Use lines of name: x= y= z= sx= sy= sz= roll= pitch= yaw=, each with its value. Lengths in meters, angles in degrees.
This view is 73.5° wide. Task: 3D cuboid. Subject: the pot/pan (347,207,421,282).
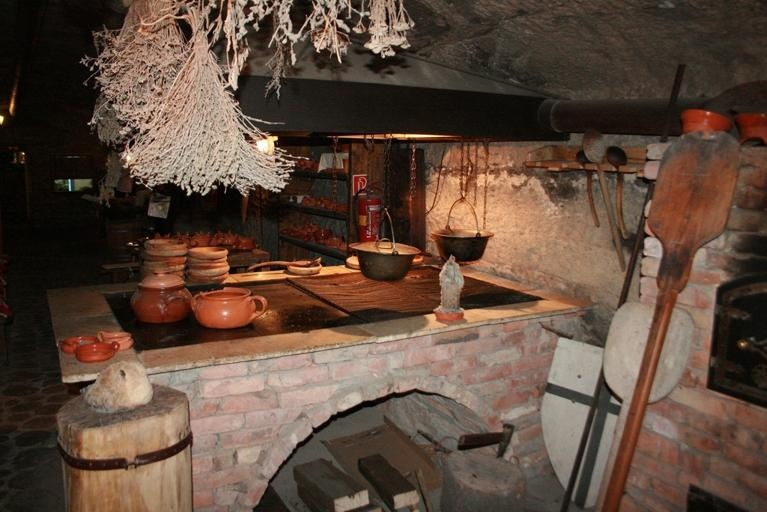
pot/pan: x=0.045 y=-0.080 z=3.419 sx=0.567 sy=0.475 sz=0.557 roll=-2 pitch=8 yaw=-31

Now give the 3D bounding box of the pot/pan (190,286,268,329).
pot/pan: x=-1.003 y=0.324 z=3.340 sx=0.410 sy=0.143 sz=0.275 roll=-2 pitch=7 yaw=2

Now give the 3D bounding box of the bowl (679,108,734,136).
bowl: x=1.781 y=-0.728 z=2.868 sx=0.193 sy=0.080 sz=0.186 roll=4 pitch=4 yaw=0

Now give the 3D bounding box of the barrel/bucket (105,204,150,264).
barrel/bucket: x=-4.777 y=-0.464 z=9.589 sx=0.658 sy=1.003 sz=1.372 roll=-5 pitch=14 yaw=-26

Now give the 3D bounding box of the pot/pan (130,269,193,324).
pot/pan: x=-1.451 y=0.266 z=3.491 sx=0.384 sy=0.282 sz=0.349 roll=2 pitch=3 yaw=5

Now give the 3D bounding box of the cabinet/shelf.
cabinet/shelf: x=-0.579 y=-0.610 z=5.651 sx=0.545 sy=1.621 sz=1.658 roll=-6 pitch=14 yaw=-40

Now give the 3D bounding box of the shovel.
shovel: x=1.514 y=0.486 z=3.043 sx=0.118 sy=2.395 sz=0.487 roll=2 pitch=19 yaw=-46
